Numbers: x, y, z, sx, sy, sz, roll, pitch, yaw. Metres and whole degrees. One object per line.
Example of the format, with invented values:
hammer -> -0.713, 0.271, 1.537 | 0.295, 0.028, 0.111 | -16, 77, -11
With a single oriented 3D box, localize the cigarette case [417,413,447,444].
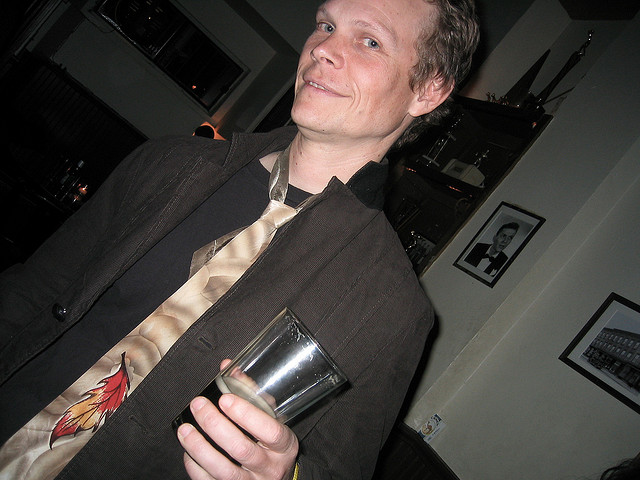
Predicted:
cigarette case -> 0.965, 1.614, 3.822 | 0.163, 0.279, 0.083 | 31, 0, -4

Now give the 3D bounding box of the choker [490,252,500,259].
choker -> 1.533, 0.136, 3.900 | 0.011, 0.084, 0.082 | 0, 58, -23

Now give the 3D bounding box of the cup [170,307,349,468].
cup -> -0.183, 0.427, 1.568 | 0.299, 0.476, 0.299 | 43, 15, -14

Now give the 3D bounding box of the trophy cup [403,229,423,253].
trophy cup -> 0.947, 0.008, 4.622 | 0.071, 0.260, 0.187 | 29, 2, -37
